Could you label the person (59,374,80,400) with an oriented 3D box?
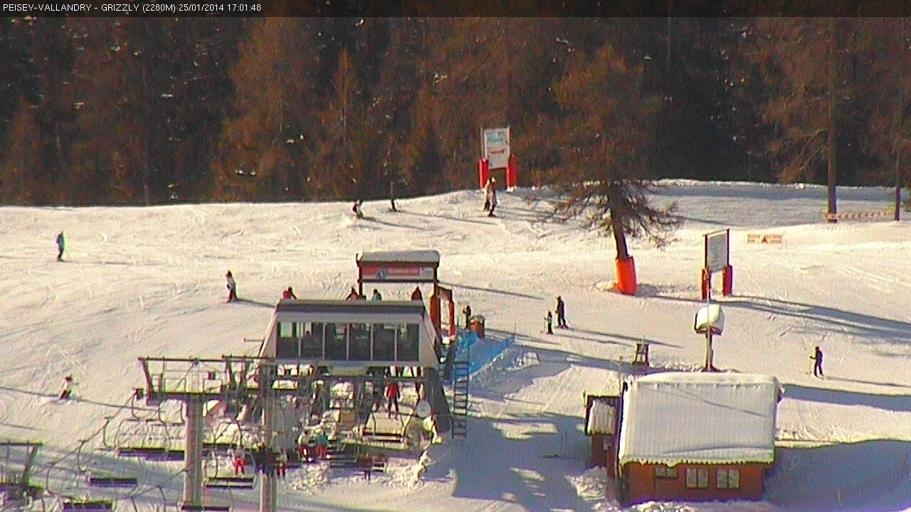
[{"bbox_3d":[-34.360,11.605,186.692,1.019,2.211,0.490,10,-25,0],"label":"person"}]
